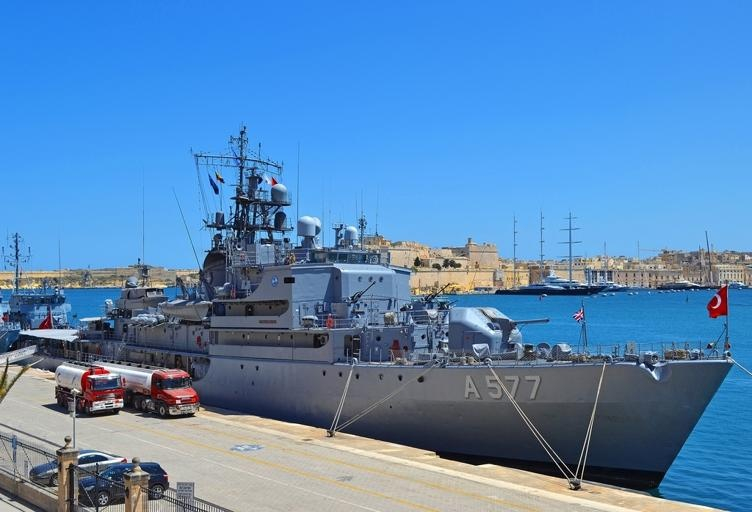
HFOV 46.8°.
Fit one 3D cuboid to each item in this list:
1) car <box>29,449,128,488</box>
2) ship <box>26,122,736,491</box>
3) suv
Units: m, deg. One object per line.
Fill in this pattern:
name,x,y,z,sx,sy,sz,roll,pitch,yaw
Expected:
car,-13.459,9.362,39.603,3.812,1.168,1.680,3,-6,-26
ship,-0.191,2.015,48.998,36.962,17.846,7.111,0,-1,35
suv,-11.208,9.655,38.342,3.432,1.348,1.794,2,-7,-16
